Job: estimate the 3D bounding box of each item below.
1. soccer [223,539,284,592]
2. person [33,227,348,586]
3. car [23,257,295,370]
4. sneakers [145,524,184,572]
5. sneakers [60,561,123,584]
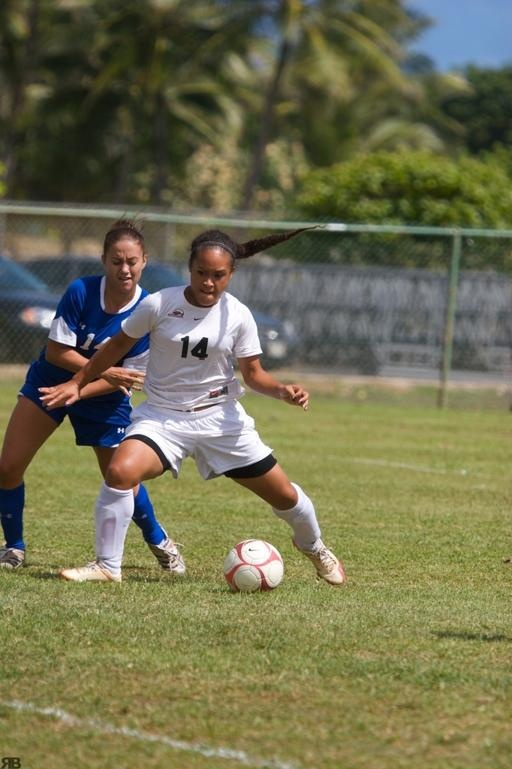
[{"bbox_3d":[-0.013,0.717,3.739,0.219,0.188,0.191,-21,48,-11],"label":"soccer"},{"bbox_3d":[-0.242,0.209,3.663,1.154,1.166,0.299,2,6,-15],"label":"person"},{"bbox_3d":[-1.084,-0.893,11.525,3.488,0.899,1.315,3,1,6],"label":"car"},{"bbox_3d":[-0.377,0.737,4.086,0.094,0.249,0.100,-42,8,9],"label":"sneakers"},{"bbox_3d":[-0.647,0.745,3.696,0.273,0.083,0.081,5,-6,-7],"label":"sneakers"}]
